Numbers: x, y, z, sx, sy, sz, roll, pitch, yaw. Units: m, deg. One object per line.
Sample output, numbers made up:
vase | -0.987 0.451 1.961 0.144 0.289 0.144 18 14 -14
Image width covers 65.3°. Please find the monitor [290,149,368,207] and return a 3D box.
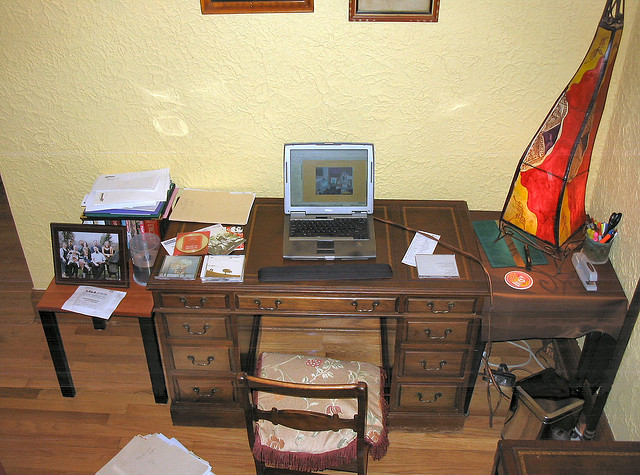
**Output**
monitor | 0.043 -0.286 2.446 0.039 0.333 0.603 -8 12 -41

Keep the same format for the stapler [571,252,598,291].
stapler | 1.206 0.163 2.357 0.073 0.068 0.194 -3 35 8

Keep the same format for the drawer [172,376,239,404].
drawer | -0.584 0.780 2.556 0.395 0.178 0.164 1 47 0

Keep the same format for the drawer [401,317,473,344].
drawer | 0.548 0.439 2.407 0.304 0.109 0.157 1 31 2

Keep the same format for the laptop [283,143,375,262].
laptop | 0.050 -0.137 2.535 0.711 0.485 0.527 -1 60 0

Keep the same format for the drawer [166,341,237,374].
drawer | -0.544 0.604 2.542 0.425 0.171 0.195 -3 0 19

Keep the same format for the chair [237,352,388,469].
chair | -0.031 0.743 2.122 0.719 0.844 0.475 4 67 0

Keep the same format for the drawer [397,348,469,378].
drawer | 0.600 0.644 2.491 0.368 0.190 0.158 -8 62 33

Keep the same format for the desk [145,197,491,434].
desk | -0.028 0.353 2.378 1.727 0.805 0.640 1 41 3

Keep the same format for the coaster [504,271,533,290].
coaster | 0.924 0.201 2.346 0.118 0.049 0.112 -19 28 -40
